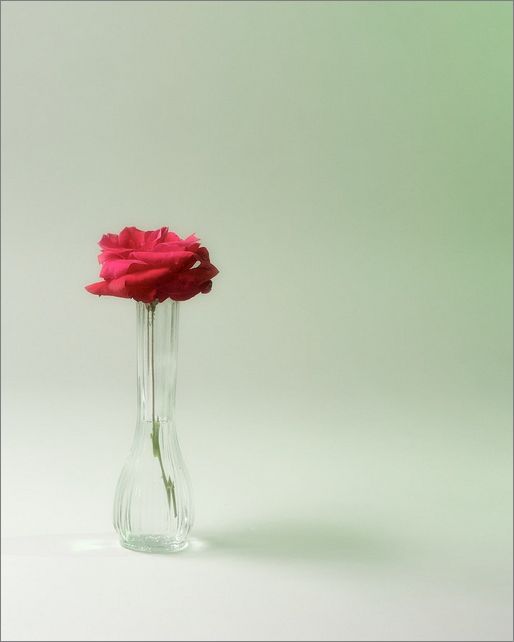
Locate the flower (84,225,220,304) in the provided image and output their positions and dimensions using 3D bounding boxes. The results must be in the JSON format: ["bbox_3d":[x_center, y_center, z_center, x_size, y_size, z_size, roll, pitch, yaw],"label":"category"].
[{"bbox_3d":[-0.146,-0.061,1.030,0.155,0.063,0.158,4,-2,-28],"label":"flower"}]
